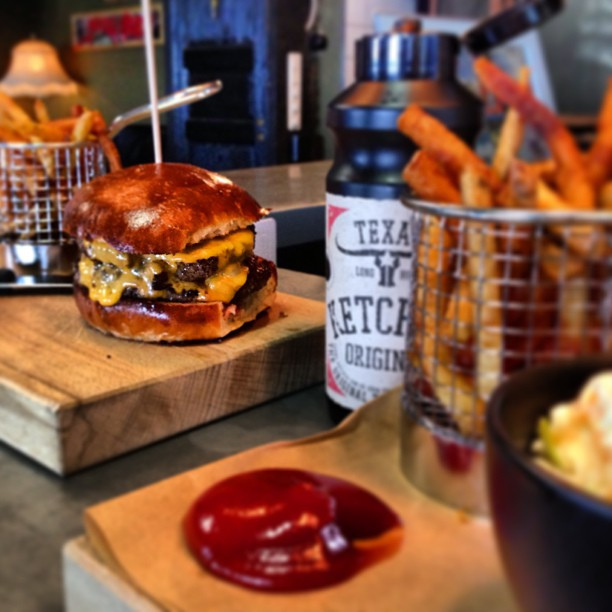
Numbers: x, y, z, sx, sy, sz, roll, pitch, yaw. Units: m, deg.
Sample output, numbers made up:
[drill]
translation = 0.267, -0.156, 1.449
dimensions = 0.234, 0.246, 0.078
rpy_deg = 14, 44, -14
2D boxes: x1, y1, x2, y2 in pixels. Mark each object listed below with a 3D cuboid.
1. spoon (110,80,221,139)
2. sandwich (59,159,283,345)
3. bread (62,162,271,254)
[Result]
[spoon]
translation = -0.268, -0.352, 1.124
dimensions = 0.183, 0.090, 0.353
rpy_deg = -5, 18, -16
[sandwich]
translation = -0.253, -0.106, 1.050
dimensions = 0.387, 0.237, 0.353
rpy_deg = -1, 21, -8
[bread]
translation = -0.229, -0.187, 1.007
dimensions = 0.312, 0.090, 0.287
rpy_deg = 24, 35, 33
